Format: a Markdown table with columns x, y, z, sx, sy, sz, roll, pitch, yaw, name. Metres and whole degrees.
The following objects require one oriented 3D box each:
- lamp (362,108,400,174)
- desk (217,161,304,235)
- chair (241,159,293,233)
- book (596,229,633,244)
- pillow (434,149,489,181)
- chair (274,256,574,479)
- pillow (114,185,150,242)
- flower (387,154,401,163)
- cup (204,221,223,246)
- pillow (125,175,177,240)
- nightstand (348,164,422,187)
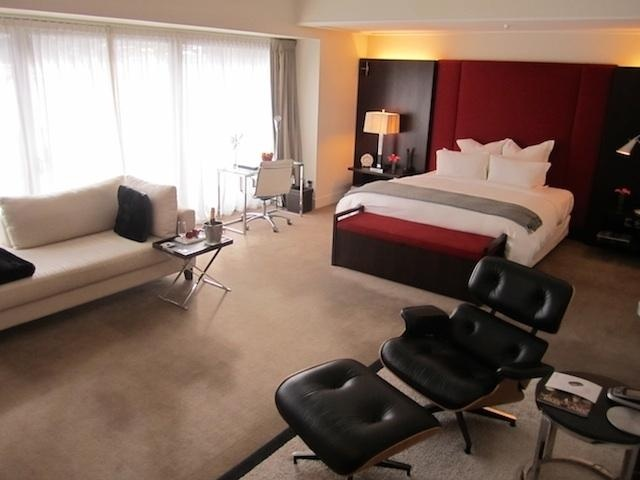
| x | y | z | sx | sy | sz | roll | pitch | yaw | name |
| --- | --- | --- | --- | --- | --- | --- | --- | --- | --- |
| 0.967 | -1.567 | 7.551 | 0.519 | 0.888 | 0.546 | 8 | 22 | 18 | lamp |
| -0.880 | -0.601 | 6.850 | 0.623 | 0.788 | 0.940 | 28 | 37 | 36 | desk |
| -0.760 | -0.639 | 6.831 | 0.772 | 0.930 | 0.739 | -18 | 40 | -31 | chair |
| 3.727 | -0.033 | 6.000 | 0.269 | 0.061 | 0.179 | 12 | 23 | 35 | book |
| 1.981 | -1.020 | 6.573 | 0.500 | 0.272 | 0.147 | 9 | -1 | 37 | pillow |
| 0.712 | 1.000 | 3.344 | 1.990 | 1.125 | 1.176 | -18 | 33 | -31 | chair |
| -1.887 | -0.248 | 4.786 | 0.553 | 0.501 | 0.215 | 11 | 6 | 34 | pillow |
| 1.177 | -1.300 | 7.609 | 0.156 | 0.060 | 0.159 | -16 | 27 | -24 | flower |
| -1.042 | -0.060 | 4.640 | 0.190 | 0.218 | 0.226 | -11 | 19 | -42 | cup |
| -1.728 | -0.302 | 4.836 | 0.689 | 0.455 | 0.240 | 19 | 28 | 37 | pillow |
| 1.032 | -0.997 | 7.273 | 0.329 | 0.325 | 0.583 | -18 | 28 | -36 | nightstand |
